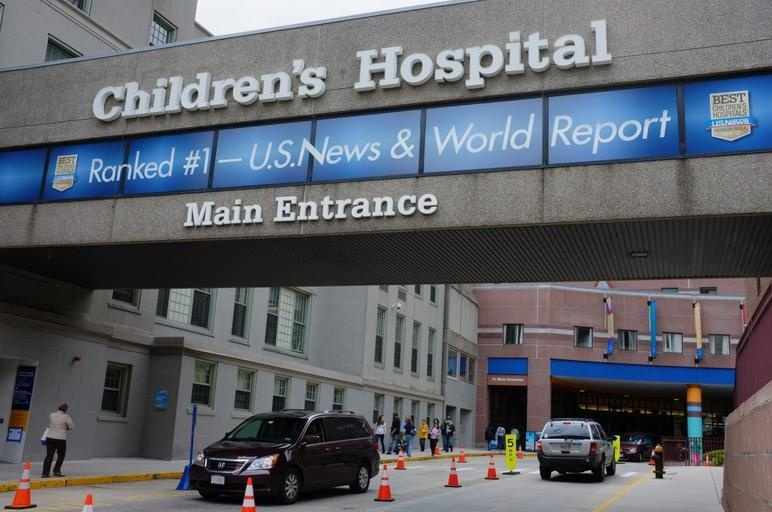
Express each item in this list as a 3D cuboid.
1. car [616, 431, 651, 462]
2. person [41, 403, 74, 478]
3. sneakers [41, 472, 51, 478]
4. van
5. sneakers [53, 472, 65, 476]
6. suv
[{"bbox_3d":[15.102,11.739,38.341,1.300,1.613,2.448,-9,-19,38],"label":"car"},{"bbox_3d":[-9.446,5.276,17.986,0.662,1.995,0.906,10,-16,-23],"label":"person"},{"bbox_3d":[-9.530,6.150,17.576,0.106,0.126,0.310,0,-11,-4],"label":"sneakers"},{"bbox_3d":[-2.597,5.391,17.092,2.390,1.776,4.370,-10,-20,30],"label":"van"},{"bbox_3d":[-9.328,6.249,17.904,0.277,0.109,0.096,-1,-5,4],"label":"sneakers"},{"bbox_3d":[7.273,7.429,24.157,1.922,2.227,3.179,-7,-17,33],"label":"suv"}]
